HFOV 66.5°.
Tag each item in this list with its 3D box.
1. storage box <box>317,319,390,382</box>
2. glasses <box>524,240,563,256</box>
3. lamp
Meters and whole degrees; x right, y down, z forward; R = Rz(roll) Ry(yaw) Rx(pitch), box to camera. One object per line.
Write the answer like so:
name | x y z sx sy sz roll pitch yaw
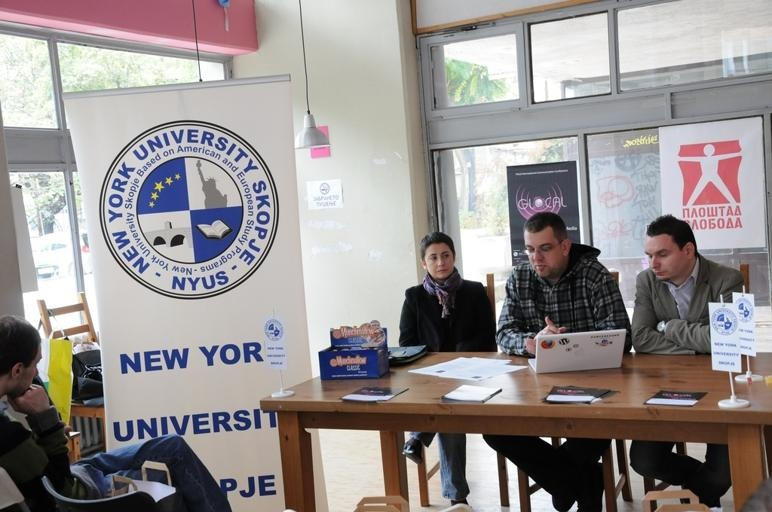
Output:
storage box | -0.182 0.534 3.280 0.420 0.343 0.301 -2 -7 10
glasses | 0.919 -0.052 3.442 0.196 0.086 0.088 -4 2 17
lamp | -0.773 -1.865 5.800 0.332 1.263 1.038 -4 2 -7
